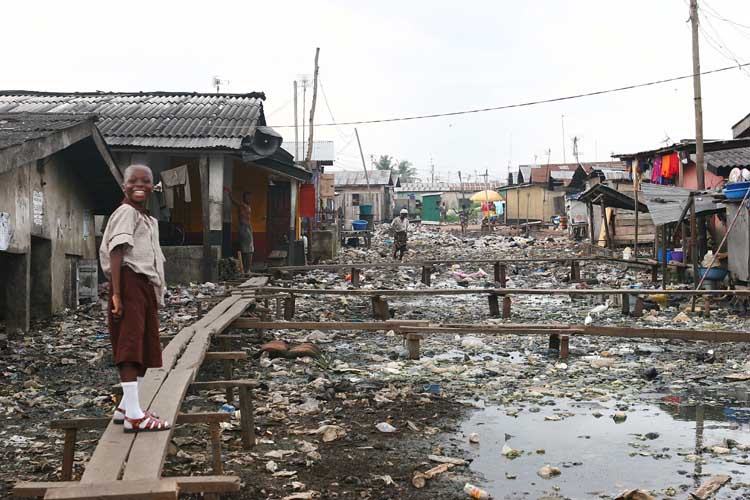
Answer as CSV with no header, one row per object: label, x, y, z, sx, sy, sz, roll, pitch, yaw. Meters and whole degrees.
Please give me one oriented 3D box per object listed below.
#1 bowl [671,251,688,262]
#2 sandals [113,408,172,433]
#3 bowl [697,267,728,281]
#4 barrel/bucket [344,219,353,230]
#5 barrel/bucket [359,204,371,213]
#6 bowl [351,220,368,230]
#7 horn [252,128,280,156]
bowl,7.012,0.155,18.617,0.267,0.191,0.267,0,3,0
sandals,-2.420,1.760,8.320,0.534,0.192,0.233,-1,1,-5
bowl,6.763,0.502,16.089,0.451,0.187,0.302,-1,1,27
barrel/bucket,-1.291,-1.166,38.229,0.672,0.452,0.641,0,-2,0
barrel/bucket,-0.394,-1.705,34.247,0.405,0.389,0.456,2,13,7
bowl,-0.631,-0.913,30.532,0.499,0.289,0.479,1,-5,0
horn,-2.499,-2.510,18.754,0.546,0.689,1.714,3,13,8
